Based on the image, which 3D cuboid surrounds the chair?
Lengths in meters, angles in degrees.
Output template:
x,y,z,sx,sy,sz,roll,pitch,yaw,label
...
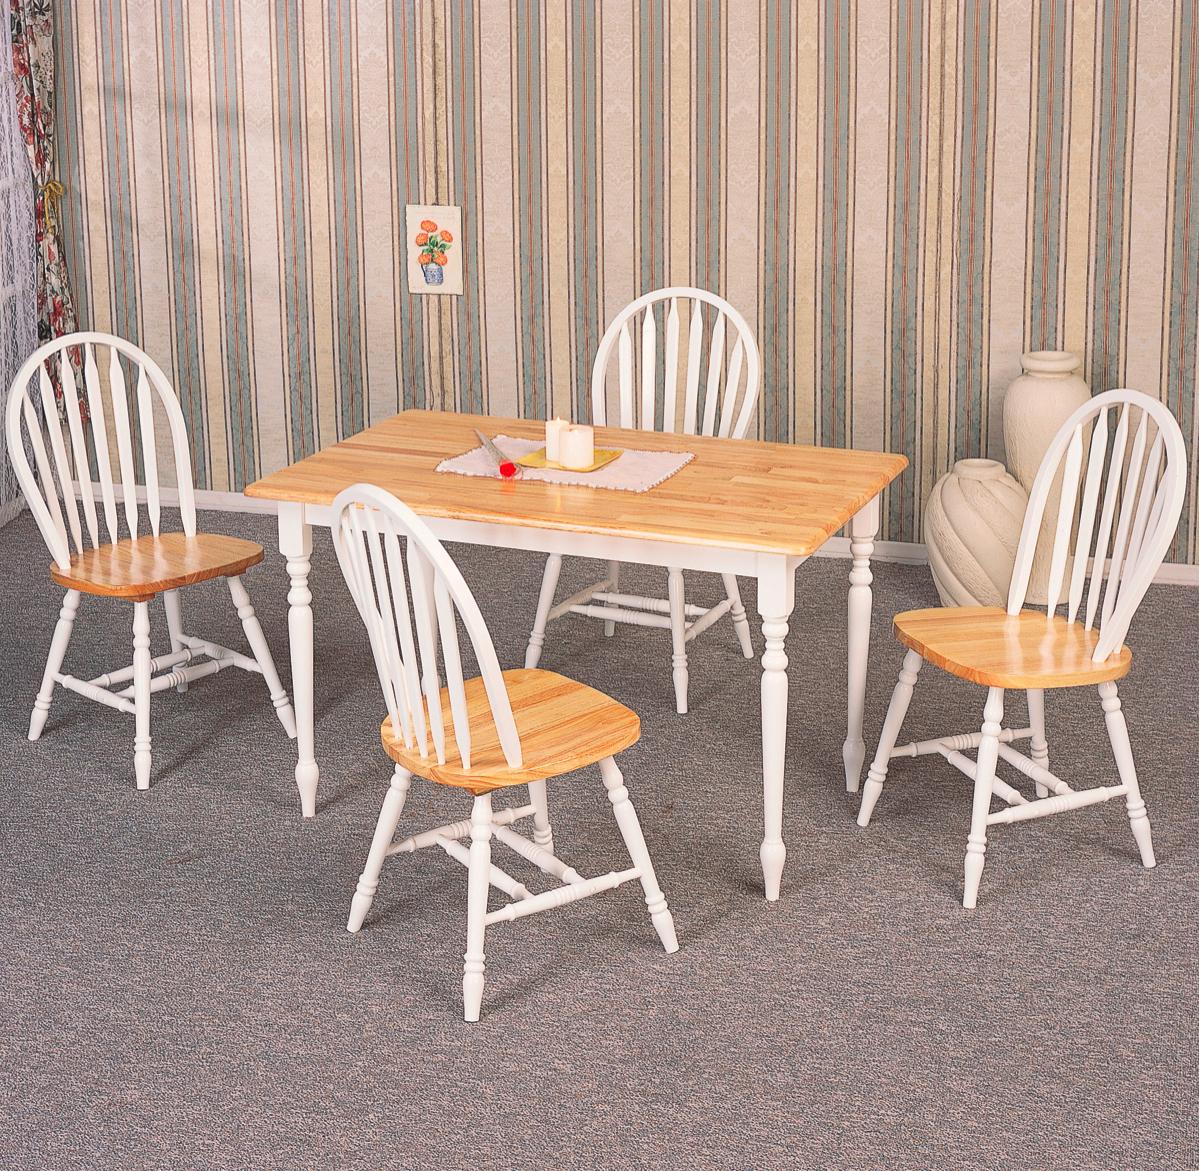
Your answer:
x,y,z,sx,sy,sz,roll,pitch,yaw,label
0.090,0.141,2.713,1.575,0.559,0.954,8,25,18,chair
